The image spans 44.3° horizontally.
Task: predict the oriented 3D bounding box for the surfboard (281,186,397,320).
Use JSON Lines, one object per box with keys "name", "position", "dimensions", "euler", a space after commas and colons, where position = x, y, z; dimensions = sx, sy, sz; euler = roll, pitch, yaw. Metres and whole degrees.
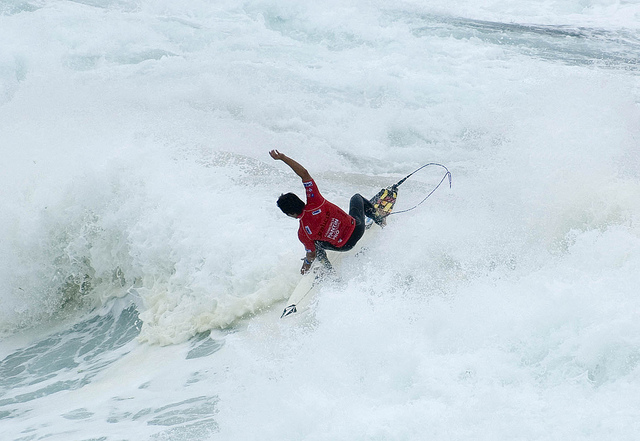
{"name": "surfboard", "position": [0.490, 0.917, 19.127], "dimensions": [0.845, 0.436, 3.960], "euler": [39, 76, 18]}
